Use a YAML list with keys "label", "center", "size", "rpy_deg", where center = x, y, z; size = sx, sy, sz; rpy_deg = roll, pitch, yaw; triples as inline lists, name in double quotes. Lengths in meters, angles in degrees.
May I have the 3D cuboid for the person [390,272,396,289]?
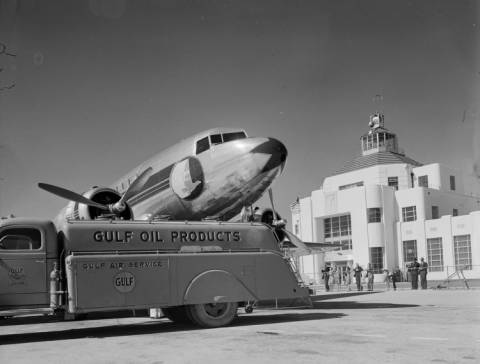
- label: "person"
  center: [11.254, 7.241, 36.303]
  size: [0.262, 1.215, 0.897]
  rpy_deg: [-8, -15, 16]
